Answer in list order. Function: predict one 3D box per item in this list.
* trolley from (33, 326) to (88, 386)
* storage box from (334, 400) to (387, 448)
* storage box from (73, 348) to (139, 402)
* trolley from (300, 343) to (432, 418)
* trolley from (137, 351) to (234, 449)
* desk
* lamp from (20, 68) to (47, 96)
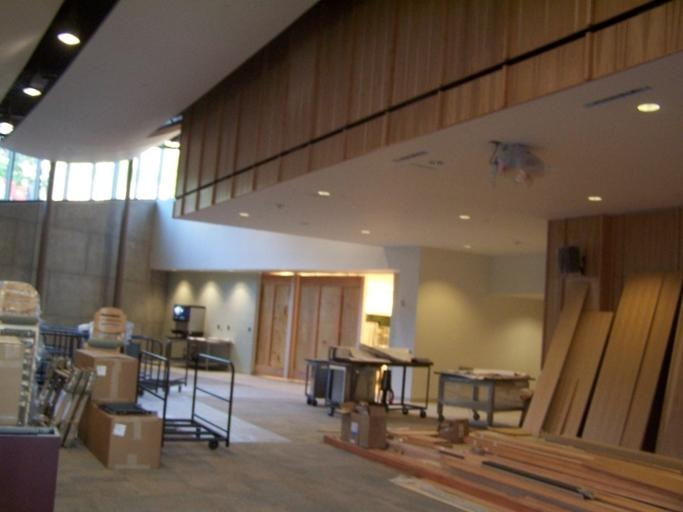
[{"bbox_3d":[-6.174,1.917,12.384,0.852,0.819,0.660,-1,3,-32],"label":"trolley"},{"bbox_3d":[0.310,2.368,7.894,0.336,0.553,0.645,12,-14,-34],"label":"storage box"},{"bbox_3d":[-3.096,1.564,7.360,0.669,0.707,0.706,4,-4,-11],"label":"storage box"},{"bbox_3d":[0.543,2.342,11.080,1.753,1.214,1.887,4,-7,-23],"label":"trolley"},{"bbox_3d":[-2.251,2.124,8.413,1.509,1.032,1.413,5,-7,40],"label":"trolley"},{"bbox_3d":[2.552,2.602,10.226,1.182,0.928,1.399,9,-10,-32],"label":"desk"},{"bbox_3d":[-4.961,-2.796,9.136,0.272,0.259,0.272,16,2,18],"label":"lamp"}]
